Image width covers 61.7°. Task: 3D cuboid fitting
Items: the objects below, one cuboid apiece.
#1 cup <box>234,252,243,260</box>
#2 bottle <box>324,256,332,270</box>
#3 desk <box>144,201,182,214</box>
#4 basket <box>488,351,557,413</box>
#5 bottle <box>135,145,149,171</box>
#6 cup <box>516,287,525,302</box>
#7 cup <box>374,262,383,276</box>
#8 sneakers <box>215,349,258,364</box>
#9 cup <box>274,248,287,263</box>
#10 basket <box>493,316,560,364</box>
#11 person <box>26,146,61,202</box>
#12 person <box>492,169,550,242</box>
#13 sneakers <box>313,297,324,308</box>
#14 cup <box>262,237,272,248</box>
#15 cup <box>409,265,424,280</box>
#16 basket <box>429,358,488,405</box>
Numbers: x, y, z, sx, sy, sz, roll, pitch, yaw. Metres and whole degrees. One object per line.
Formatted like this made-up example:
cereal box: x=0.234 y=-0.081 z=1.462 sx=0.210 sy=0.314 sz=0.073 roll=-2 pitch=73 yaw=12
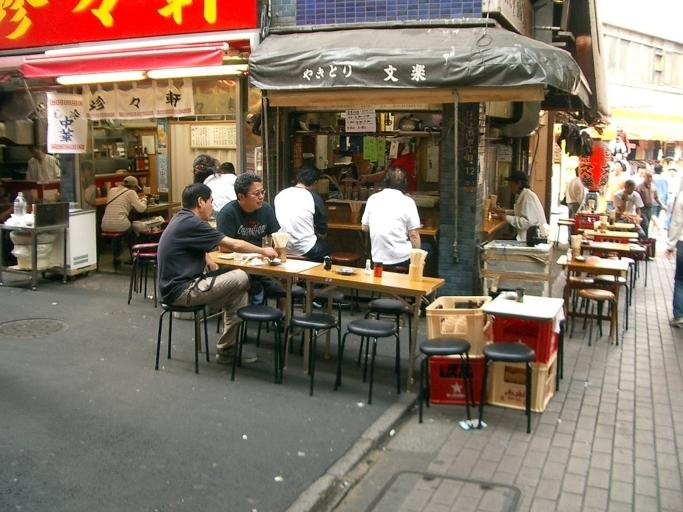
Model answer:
cup: x=-1.318 y=0.012 z=7.314 sx=0.102 sy=0.109 sz=0.097 roll=-1 pitch=5 yaw=0
bottle: x=-0.168 y=0.100 z=7.035 sx=0.117 sy=0.182 sz=0.105 roll=11 pitch=18 yaw=34
desk: x=-3.886 y=-1.030 z=12.481 sx=0.532 sy=0.269 sz=0.363 roll=10 pitch=23 yaw=24
basket: x=1.963 y=1.318 z=6.355 sx=0.603 sy=0.458 sz=0.615 roll=3 pitch=7 yaw=14
bottle: x=-4.776 y=-2.291 z=13.686 sx=0.333 sy=0.555 sz=0.254 roll=0 pitch=13 yaw=-9
cup: x=1.970 y=0.423 z=6.295 sx=0.084 sy=0.149 sz=0.247 roll=6 pitch=14 yaw=16
cup: x=0.430 y=0.165 z=6.616 sx=0.087 sy=0.171 sz=0.100 roll=1 pitch=13 yaw=-2
sneakers: x=-1.301 y=1.263 z=7.073 sx=0.477 sy=0.195 sz=0.190 roll=-1 pitch=9 yaw=-10
cup: x=-0.769 y=0.001 z=7.132 sx=0.152 sy=0.177 sz=0.156 roll=2 pitch=9 yaw=0
basket: x=2.023 y=0.872 z=6.233 sx=0.560 sy=0.359 sz=0.573 roll=3 pitch=7 yaw=26
person: x=-7.050 y=-1.987 z=13.541 sx=0.721 sy=1.085 sz=2.347 roll=-5 pitch=15 yaw=-29
person: x=3.338 y=-0.869 z=10.568 sx=0.868 sy=1.310 sz=0.959 roll=6 pitch=13 yaw=15
sneakers: x=-0.324 y=0.666 z=8.003 sx=0.142 sy=0.193 sz=0.178 roll=4 pitch=-11 yaw=-18
cup: x=-0.964 y=-0.170 z=7.407 sx=0.114 sy=0.134 sz=0.122 roll=0 pitch=3 yaw=0
cup: x=0.844 y=0.192 z=6.550 sx=0.158 sy=0.163 sz=0.139 roll=6 pitch=14 yaw=18
basket: x=1.295 y=1.338 z=6.297 sx=0.536 sy=0.468 sz=0.547 roll=2 pitch=5 yaw=23
